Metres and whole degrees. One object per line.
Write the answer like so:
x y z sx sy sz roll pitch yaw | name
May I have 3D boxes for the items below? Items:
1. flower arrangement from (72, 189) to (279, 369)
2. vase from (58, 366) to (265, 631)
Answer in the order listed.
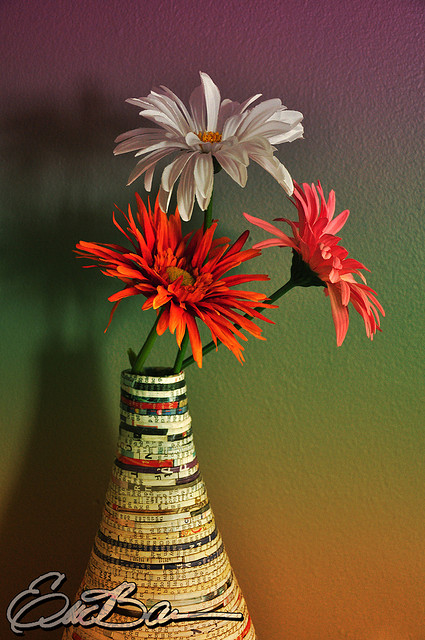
-0.043 -0.062 0.813 0.244 0.226 0.234 2 3 10 | flower arrangement
-0.076 0.248 0.816 0.222 0.363 0.175 4 3 34 | vase
